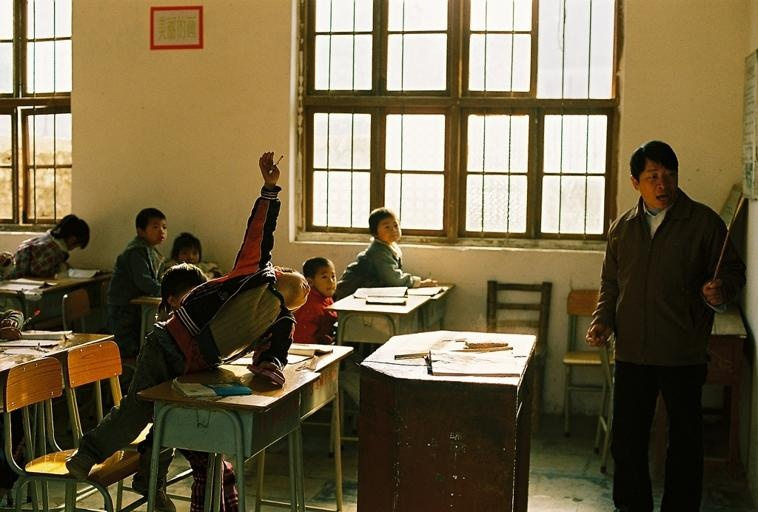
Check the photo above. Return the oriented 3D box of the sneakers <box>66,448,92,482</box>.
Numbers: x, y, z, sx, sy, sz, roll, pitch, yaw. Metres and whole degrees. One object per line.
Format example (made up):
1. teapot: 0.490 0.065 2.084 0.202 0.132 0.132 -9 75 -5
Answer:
1. sneakers: -1.480 1.025 3.735 0.123 0.185 0.211 0 5 -24

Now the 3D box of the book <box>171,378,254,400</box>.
1. book: -0.795 0.634 3.586 0.388 0.047 0.145 3 5 2

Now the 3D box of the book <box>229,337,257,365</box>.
1. book: -0.698 0.502 3.899 0.143 0.055 0.124 -35 -1 25

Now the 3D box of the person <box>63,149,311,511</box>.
1. person: -1.141 0.447 4.670 1.363 2.316 0.756 30 -29 -27

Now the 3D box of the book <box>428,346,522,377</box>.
1. book: 0.453 0.504 3.571 0.428 0.065 0.338 2 5 1

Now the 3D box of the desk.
1. desk: 1.901 0.790 4.431 0.456 1.028 1.138 0 0 17
